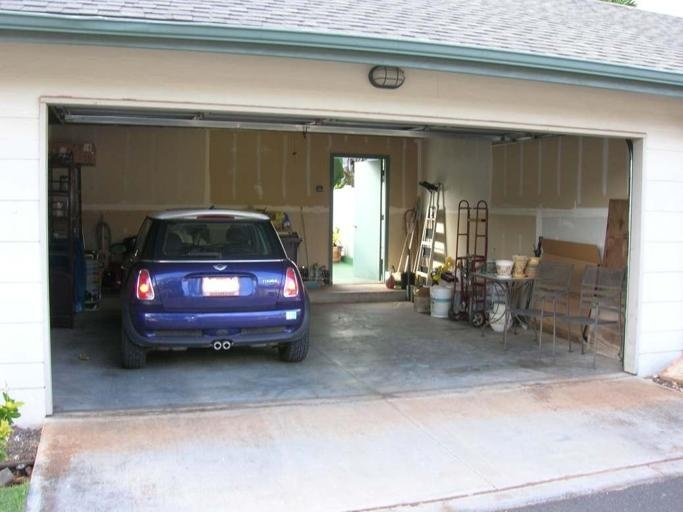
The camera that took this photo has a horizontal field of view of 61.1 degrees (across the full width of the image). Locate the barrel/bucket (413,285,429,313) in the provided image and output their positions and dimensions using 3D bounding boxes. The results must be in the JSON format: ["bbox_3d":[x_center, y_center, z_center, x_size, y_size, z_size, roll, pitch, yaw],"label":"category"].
[{"bbox_3d":[1.448,0.809,10.372,0.354,0.427,0.370,-1,3,0],"label":"barrel/bucket"}]

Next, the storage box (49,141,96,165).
[{"bbox_3d":[-4.166,-1.603,9.048,0.358,0.208,0.514,1,3,-10],"label":"storage box"}]

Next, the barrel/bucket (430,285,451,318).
[{"bbox_3d":[1.692,0.800,9.946,0.375,0.520,0.332,4,9,16],"label":"barrel/bucket"}]

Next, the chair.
[{"bbox_3d":[3.080,0.761,7.873,0.459,0.898,1.186,0,1,-23],"label":"chair"}]

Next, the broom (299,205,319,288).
[{"bbox_3d":[-0.784,-0.162,12.735,0.396,1.826,0.335,-4,-9,-18],"label":"broom"}]

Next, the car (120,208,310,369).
[{"bbox_3d":[-1.343,0.296,6.052,1.273,1.208,2.313,0,6,-12],"label":"car"}]

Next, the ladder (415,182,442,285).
[{"bbox_3d":[1.915,-0.521,12.808,0.503,2.189,1.144,3,8,8],"label":"ladder"}]

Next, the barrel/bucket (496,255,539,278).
[{"bbox_3d":[2.518,0.147,8.485,0.363,0.248,0.506,-1,8,-23],"label":"barrel/bucket"}]

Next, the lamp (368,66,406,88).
[{"bbox_3d":[0.435,-1.745,5.683,0.334,0.211,0.131,0,8,-14],"label":"lamp"}]
